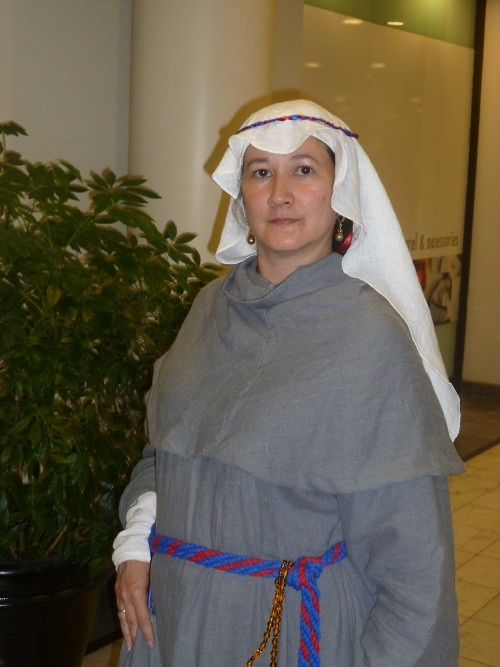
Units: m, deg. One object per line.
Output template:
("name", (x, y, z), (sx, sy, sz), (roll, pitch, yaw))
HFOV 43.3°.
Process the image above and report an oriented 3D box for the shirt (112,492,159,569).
("shirt", (-0.227, 0.395, 1.281), (0.064, 0.142, 0.116), (14, -20, -15))
